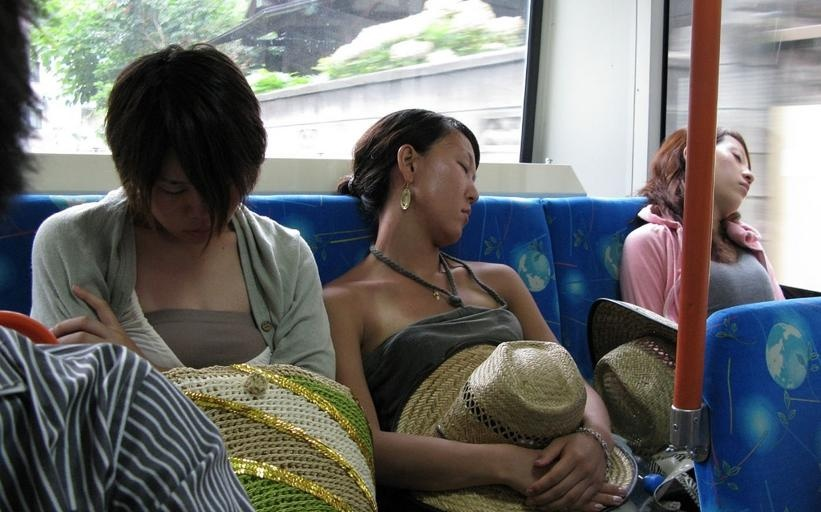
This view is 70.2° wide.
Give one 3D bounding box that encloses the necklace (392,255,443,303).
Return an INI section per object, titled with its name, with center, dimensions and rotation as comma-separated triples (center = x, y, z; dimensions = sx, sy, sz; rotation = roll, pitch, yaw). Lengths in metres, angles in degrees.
[necklace]
center = 0.014, 0.068, 1.681
dimensions = 0.200, 0.028, 0.024
rotation = 33, 55, 12

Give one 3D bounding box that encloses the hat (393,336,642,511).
[hat]
center = 0.268, 0.387, 1.441
dimensions = 0.591, 0.374, 0.288
rotation = -7, 9, -14
